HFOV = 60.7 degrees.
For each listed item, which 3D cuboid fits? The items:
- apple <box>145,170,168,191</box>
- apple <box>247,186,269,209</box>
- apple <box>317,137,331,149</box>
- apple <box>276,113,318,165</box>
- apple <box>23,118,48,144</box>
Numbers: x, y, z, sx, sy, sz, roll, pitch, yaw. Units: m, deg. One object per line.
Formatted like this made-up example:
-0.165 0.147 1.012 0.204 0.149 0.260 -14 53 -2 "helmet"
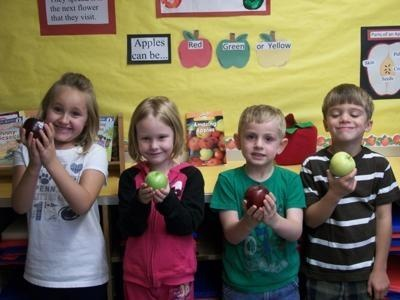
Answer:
-0.182 0.129 1.423 0.071 0.075 0.073 -1 8 5 "apple"
0.243 0.210 1.525 0.082 0.107 0.092 16 -15 -1 "apple"
0.896 -0.055 2.489 0.084 0.084 0.032 -25 -1 2 "apple"
0.644 -0.068 2.387 0.301 0.296 0.292 -20 -18 37 "apple"
-0.740 -0.085 1.508 0.082 0.107 0.180 -2 8 -28 "apple"
